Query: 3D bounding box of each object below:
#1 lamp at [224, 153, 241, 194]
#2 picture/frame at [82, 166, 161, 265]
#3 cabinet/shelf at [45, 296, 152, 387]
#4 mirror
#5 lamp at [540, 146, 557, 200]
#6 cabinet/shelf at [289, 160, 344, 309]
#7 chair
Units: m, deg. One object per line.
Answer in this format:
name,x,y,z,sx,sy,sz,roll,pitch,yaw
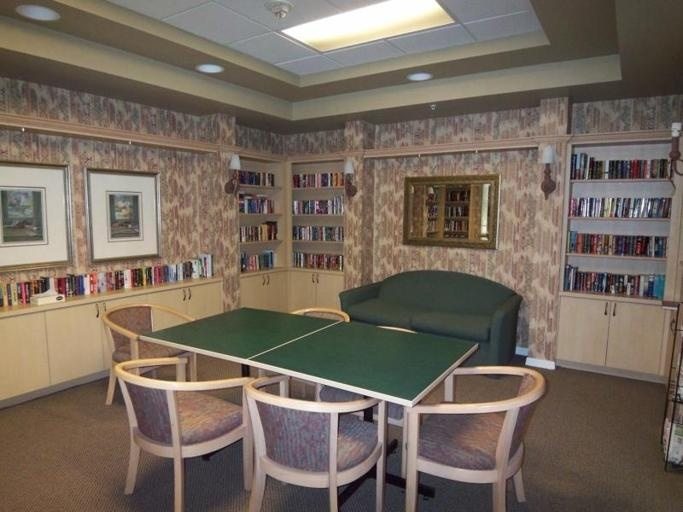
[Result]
lamp,-1.550,-1.133,7.034,0.219,0.567,0.449,-3,11,-13
picture/frame,-2.800,-0.510,6.263,0.108,1.580,1.207,3,5,38
cabinet/shelf,-2.612,0.915,5.298,0.380,0.820,0.988,0,4,35
mirror,1.599,-0.613,7.038,1.025,0.762,0.085,3,3,28
lamp,2.528,-1.011,6.100,0.182,0.644,0.211,4,12,23
cabinet/shelf,-0.381,-0.300,8.012,1.131,2.401,0.748,4,11,20
chair,-0.002,1.364,4.051,2.976,1.153,1.802,4,11,23
